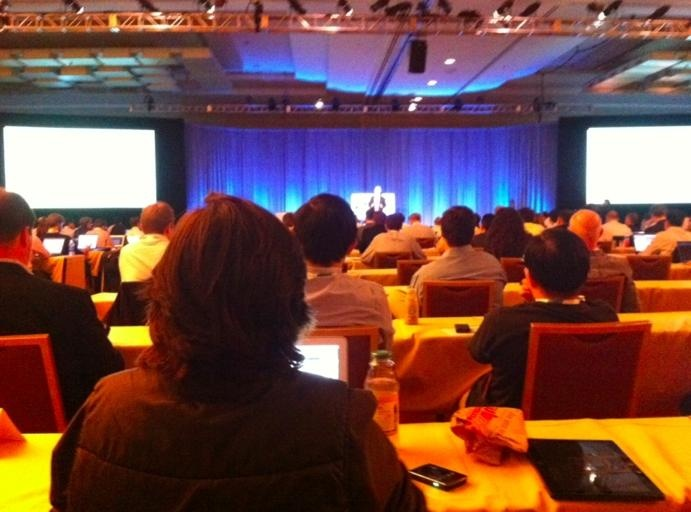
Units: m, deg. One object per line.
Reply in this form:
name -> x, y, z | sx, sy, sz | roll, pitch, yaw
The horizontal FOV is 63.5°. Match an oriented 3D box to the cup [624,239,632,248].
cup -> 3.486, -0.150, 6.882 | 0.124, 0.119, 0.220 | 1, -2, 26

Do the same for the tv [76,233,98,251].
tv -> -3.978, -0.217, 8.566 | 0.456, 0.310, 0.390 | 0, 1, -21

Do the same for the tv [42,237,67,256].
tv -> -3.636, -0.112, 6.950 | 0.250, 0.239, 0.134 | 0, -2, -9
